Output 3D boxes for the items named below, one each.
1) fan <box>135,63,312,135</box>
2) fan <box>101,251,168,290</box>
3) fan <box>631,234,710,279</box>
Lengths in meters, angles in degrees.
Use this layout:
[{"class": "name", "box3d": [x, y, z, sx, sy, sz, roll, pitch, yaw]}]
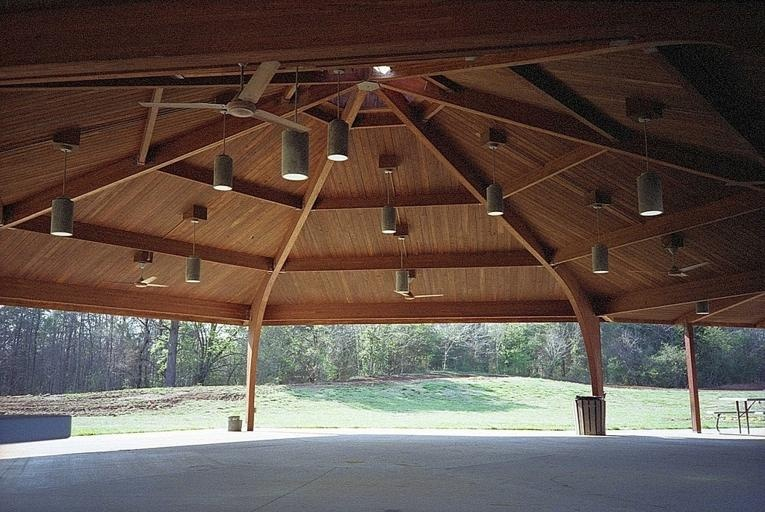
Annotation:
[{"class": "fan", "box3d": [-1.822, -2.148, 8.234, 1.541, 1.543, 0.430, 15, -44, 36]}, {"class": "fan", "box3d": [-6.062, 0.447, 16.493, 1.714, 0.739, 1.406, -7, -16, 19]}, {"class": "fan", "box3d": [6.728, 0.016, 14.772, 1.471, 0.676, 1.310, -3, 1, 35]}]
